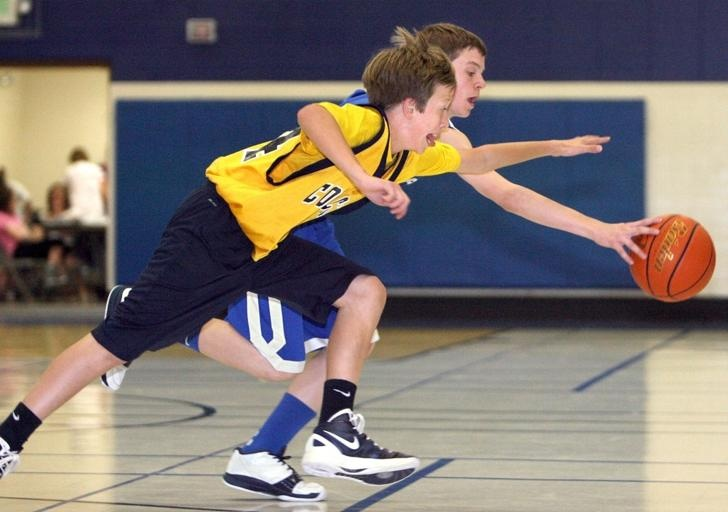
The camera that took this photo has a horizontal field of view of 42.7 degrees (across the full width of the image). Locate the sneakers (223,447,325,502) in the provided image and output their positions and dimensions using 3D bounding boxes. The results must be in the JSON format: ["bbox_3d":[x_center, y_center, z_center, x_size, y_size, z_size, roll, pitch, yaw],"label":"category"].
[{"bbox_3d":[-0.311,0.754,3.278,0.432,0.159,0.137,10,-7,8],"label":"sneakers"}]
